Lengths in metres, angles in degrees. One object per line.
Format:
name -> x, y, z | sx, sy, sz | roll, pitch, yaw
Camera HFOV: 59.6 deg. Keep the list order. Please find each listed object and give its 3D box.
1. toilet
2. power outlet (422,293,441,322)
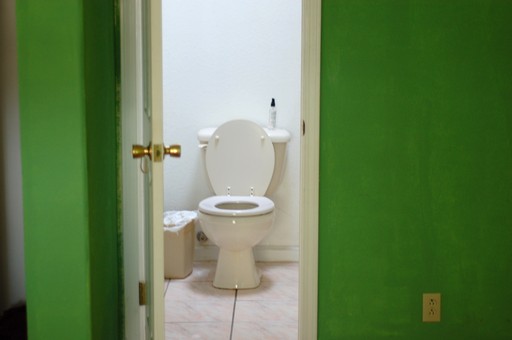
toilet -> -0.089, 0.227, 3.186 | 0.623, 1.125, 0.624 | 1, 13, 4
power outlet -> 0.856, 0.677, 2.185 | 0.085, 0.020, 0.148 | -12, 44, 33
